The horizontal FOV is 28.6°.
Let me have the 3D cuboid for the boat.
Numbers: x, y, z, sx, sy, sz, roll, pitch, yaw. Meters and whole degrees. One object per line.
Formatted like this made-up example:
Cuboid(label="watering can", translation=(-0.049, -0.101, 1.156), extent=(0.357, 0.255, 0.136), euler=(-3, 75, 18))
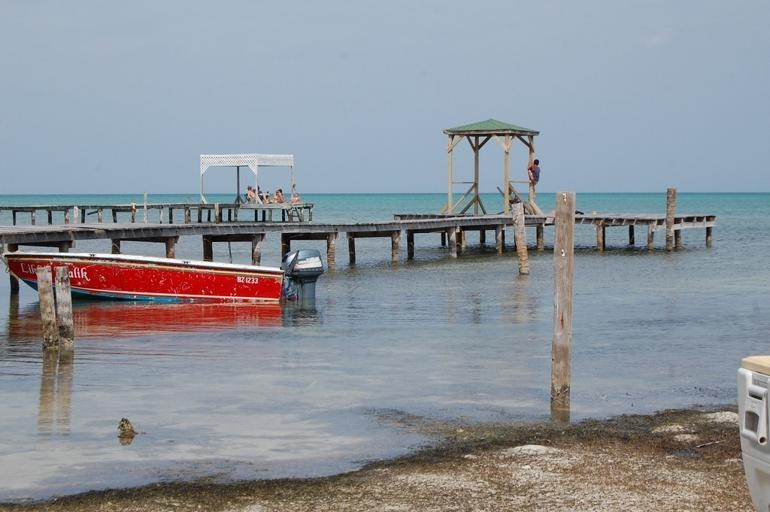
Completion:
Cuboid(label="boat", translation=(-6.343, 0.760, 42.769), extent=(7.930, 1.548, 1.513), euler=(4, -7, -10))
